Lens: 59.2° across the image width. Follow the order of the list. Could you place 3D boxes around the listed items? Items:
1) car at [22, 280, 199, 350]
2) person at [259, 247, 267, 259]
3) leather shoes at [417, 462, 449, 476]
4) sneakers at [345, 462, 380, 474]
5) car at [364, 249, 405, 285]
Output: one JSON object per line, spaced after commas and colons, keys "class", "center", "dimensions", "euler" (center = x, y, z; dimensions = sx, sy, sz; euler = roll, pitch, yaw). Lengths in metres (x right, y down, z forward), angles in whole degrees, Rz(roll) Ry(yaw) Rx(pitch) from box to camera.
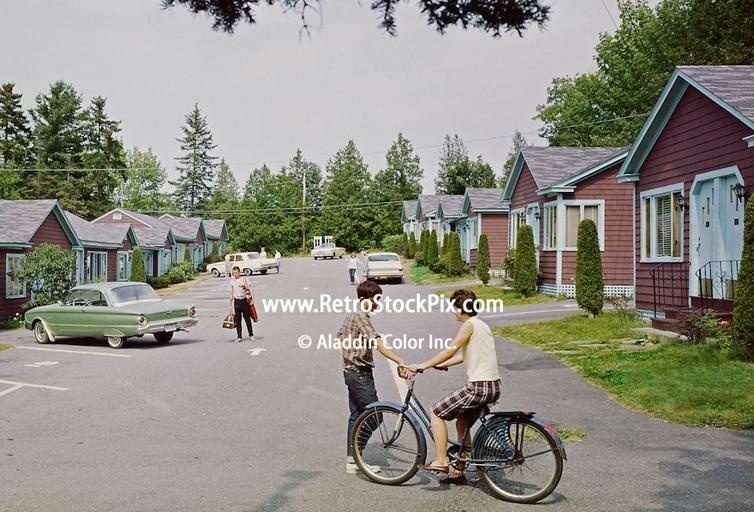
{"class": "car", "center": [-8.200, 1.798, 20.644], "dimensions": [4.805, 1.913, 1.668], "euler": [1, 5, 19]}
{"class": "person", "center": [-11.893, -0.345, 69.233], "dimensions": [0.763, 0.793, 1.978], "euler": [-3, -5, 0]}
{"class": "leather shoes", "center": [0.848, 3.120, 9.822], "dimensions": [0.467, 0.180, 0.190], "euler": [8, -14, 12]}
{"class": "sneakers", "center": [-0.230, 3.211, 10.127], "dimensions": [0.556, 0.228, 0.191], "euler": [-1, 2, 2]}
{"class": "car", "center": [0.490, 0.764, 39.916], "dimensions": [2.193, 1.751, 2.128], "euler": [0, 5, 0]}
